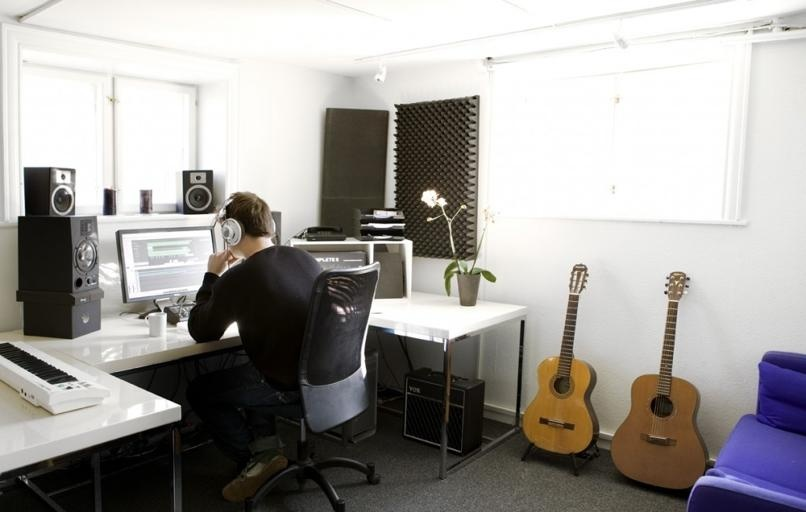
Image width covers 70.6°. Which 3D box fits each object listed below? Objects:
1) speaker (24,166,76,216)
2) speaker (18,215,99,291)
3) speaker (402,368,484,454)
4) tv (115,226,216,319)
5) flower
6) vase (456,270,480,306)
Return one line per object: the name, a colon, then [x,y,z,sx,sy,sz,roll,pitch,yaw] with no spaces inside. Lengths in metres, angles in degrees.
speaker: [-2.497,-0.458,4.024,0.298,0.331,0.305,1,4,-11]
speaker: [-2.347,-0.014,3.812,0.493,0.499,0.294,-3,15,-14]
speaker: [0.331,1.248,4.642,0.607,0.520,0.351,5,5,44]
tv: [-1.839,0.134,4.314,0.185,0.501,0.694,-4,-1,42]
flower: [0.451,-0.077,4.954,0.792,0.965,0.609,6,16,20]
vase: [0.556,0.289,4.787,0.226,0.247,0.234,8,-7,-43]
